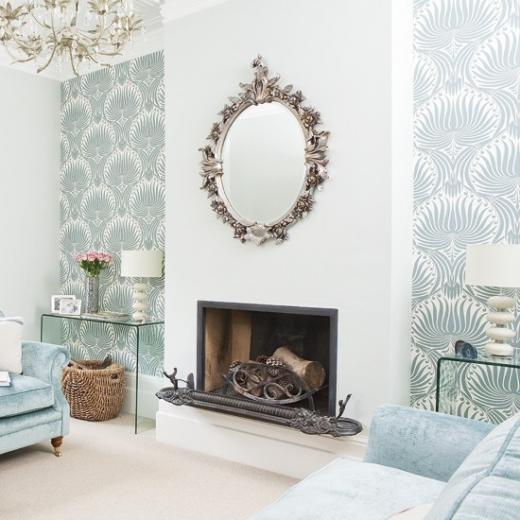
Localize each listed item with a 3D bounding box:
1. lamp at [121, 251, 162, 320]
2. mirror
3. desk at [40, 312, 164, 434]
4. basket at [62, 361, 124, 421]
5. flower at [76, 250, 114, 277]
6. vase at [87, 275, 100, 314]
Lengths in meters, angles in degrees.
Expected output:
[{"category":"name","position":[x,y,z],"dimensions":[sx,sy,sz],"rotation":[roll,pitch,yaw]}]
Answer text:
[{"category":"lamp","position":[-0.915,0.189,3.713],"dimensions":[0.309,0.521,0.309],"rotation":[6,-9,-31]},{"category":"mirror","position":[0.059,-0.643,2.836],"dimensions":[1.173,1.382,0.082],"rotation":[-2,-2,42]},{"category":"desk","position":[-1.149,0.880,3.643],"dimensions":[0.809,0.727,0.298],"rotation":[-1,-2,41]},{"category":"basket","position":[-1.319,0.982,3.788],"dimensions":[0.433,0.332,0.433],"rotation":[4,-3,-43]},{"category":"flower","position":[-1.387,0.036,4.023],"dimensions":[0.226,0.159,0.224],"rotation":[5,-5,-38]},{"category":"vase","position":[-1.391,0.289,4.027],"dimensions":[0.096,0.315,0.185],"rotation":[0,-1,-18]}]
